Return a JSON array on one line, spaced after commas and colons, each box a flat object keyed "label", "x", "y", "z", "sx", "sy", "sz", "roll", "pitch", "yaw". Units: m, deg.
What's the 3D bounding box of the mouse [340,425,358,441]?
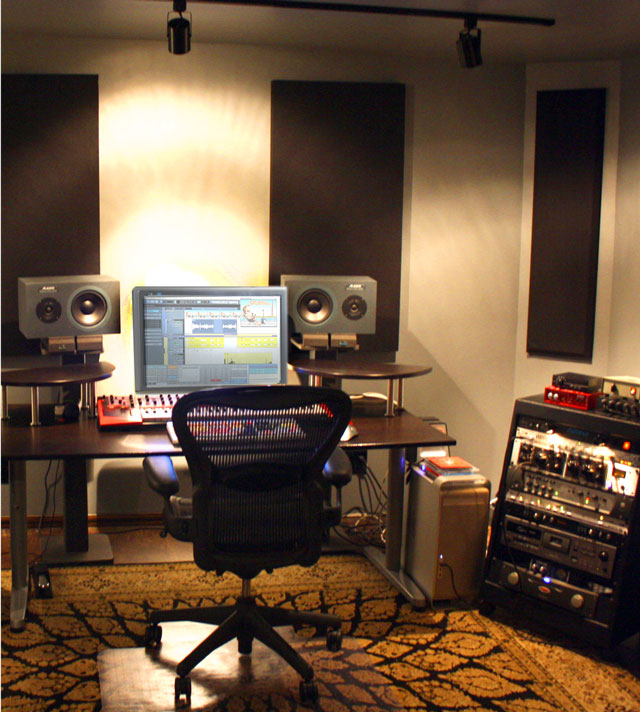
[{"label": "mouse", "x": 0.101, "y": 0.280, "z": 2.462, "sx": 0.067, "sy": 0.023, "sz": 0.092, "roll": -3, "pitch": 15, "yaw": 32}]

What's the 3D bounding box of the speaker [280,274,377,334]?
[{"label": "speaker", "x": 0.048, "y": -0.222, "z": 2.947, "sx": 0.439, "sy": 0.266, "sz": 0.237, "roll": 0, "pitch": 9, "yaw": -7}]

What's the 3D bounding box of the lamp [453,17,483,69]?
[{"label": "lamp", "x": 0.618, "y": -1.287, "z": 2.854, "sx": 0.099, "sy": 0.203, "sz": 0.238, "roll": 3, "pitch": 7, "yaw": 10}]

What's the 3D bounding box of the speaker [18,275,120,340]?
[{"label": "speaker", "x": -0.988, "y": -0.194, "z": 2.729, "sx": 0.450, "sy": 0.283, "sz": 0.240, "roll": -3, "pitch": 8, "yaw": -34}]

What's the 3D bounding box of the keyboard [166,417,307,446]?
[{"label": "keyboard", "x": -0.199, "y": 0.203, "z": 1.873, "sx": 0.235, "sy": 0.075, "sz": 0.011, "roll": -7, "pitch": 36, "yaw": -9}]
